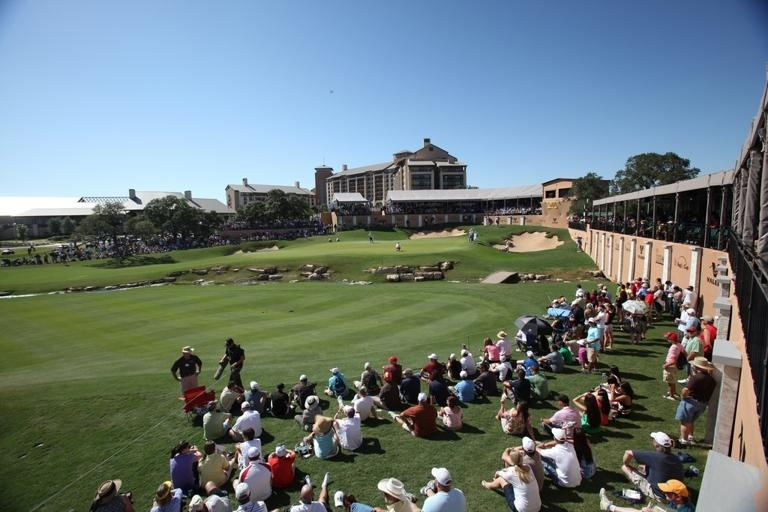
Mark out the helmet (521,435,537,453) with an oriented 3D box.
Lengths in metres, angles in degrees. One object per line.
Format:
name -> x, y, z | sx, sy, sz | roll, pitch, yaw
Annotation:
helmet -> 4.802, 6.240, 14.172 | 0.416, 0.295, 0.573 | -3, 21, 4

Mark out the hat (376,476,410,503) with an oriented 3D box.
hat -> 0.290, 7.258, 13.233 | 0.641, 0.668, 0.722 | -3, 4, -39

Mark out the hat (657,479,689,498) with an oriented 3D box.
hat -> 8.653, 6.999, 12.830 | 0.763, 0.260, 0.502 | -1, -7, 38

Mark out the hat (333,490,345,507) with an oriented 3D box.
hat -> -1.504, 8.190, 14.359 | 0.371, 0.180, 0.539 | -1, 12, -1

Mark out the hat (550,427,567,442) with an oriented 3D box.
hat -> 5.985, 6.177, 14.603 | 0.434, 0.558, 0.492 | 1, 3, 22
